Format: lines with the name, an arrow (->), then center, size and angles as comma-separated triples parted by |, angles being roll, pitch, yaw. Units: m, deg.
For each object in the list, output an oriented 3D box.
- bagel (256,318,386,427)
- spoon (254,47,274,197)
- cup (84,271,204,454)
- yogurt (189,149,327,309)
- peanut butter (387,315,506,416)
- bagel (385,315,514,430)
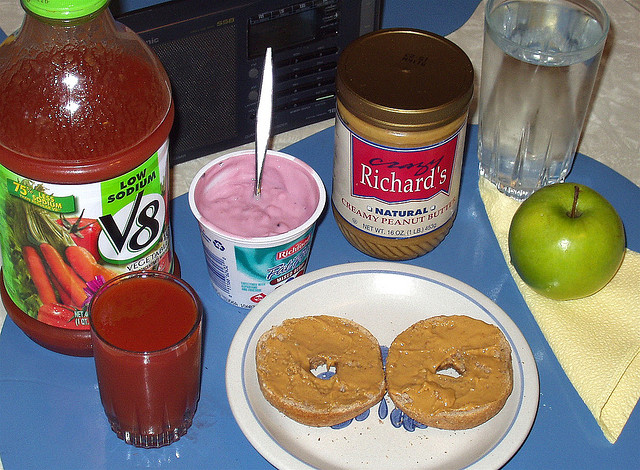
bagel -> 0.000, 0.185, 0.849 | 0.172, 0.052, 0.150 | -5, 51, -3
spoon -> -0.087, -0.151, 0.947 | 0.024, 0.265, 0.018 | 0, 5, -30
cup -> -0.222, 0.162, 0.783 | 0.108, 0.183, 0.124 | 17, 34, 9
yogurt -> -0.114, 0.012, 1.003 | 0.220, 0.184, 0.222 | 35, 50, 22
peanut butter -> 0.170, 0.171, 0.869 | 0.126, 0.120, 0.130 | -2, 29, -8
bagel -> 0.174, 0.183, 0.839 | 0.131, 0.045, 0.148 | -10, 46, 1
